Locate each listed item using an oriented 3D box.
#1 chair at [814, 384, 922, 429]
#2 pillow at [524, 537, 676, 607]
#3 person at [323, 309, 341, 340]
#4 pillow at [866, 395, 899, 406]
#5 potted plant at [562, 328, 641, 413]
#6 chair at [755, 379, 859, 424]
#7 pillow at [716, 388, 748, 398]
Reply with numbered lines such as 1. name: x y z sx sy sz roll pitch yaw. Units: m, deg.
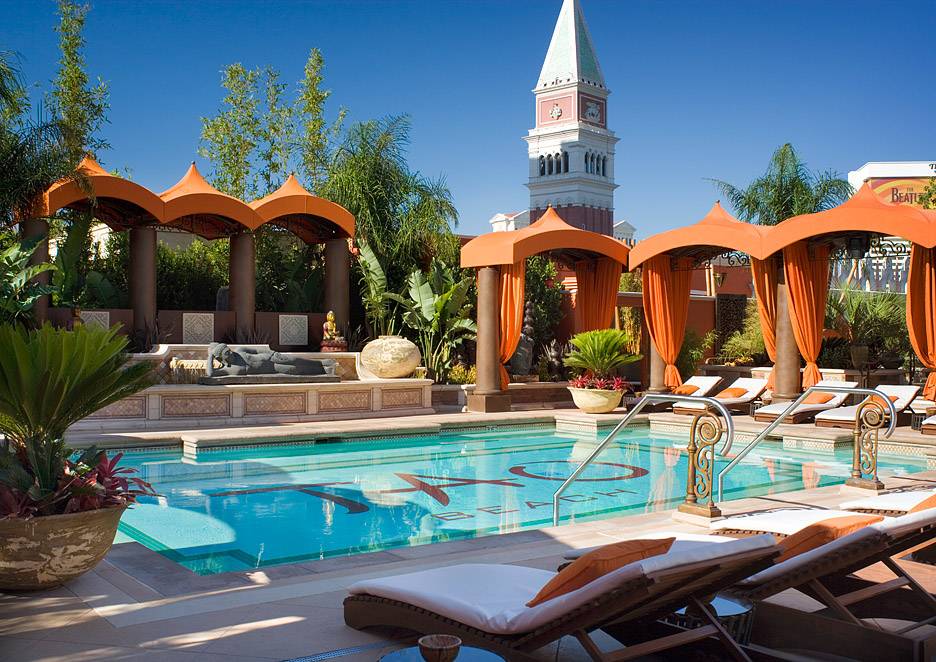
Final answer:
1. chair: 6.928 1.296 11.736 2.177 0.727 1.146 -2 1 -34
2. pillow: 0.650 1.127 3.150 0.715 0.268 0.289 0 -5 -10
3. person: -2.921 -0.117 14.885 0.325 0.674 0.708 0 -5 -10
4. pillow: 6.325 1.055 10.499 0.334 0.182 2.650 -4 -5 32
5. potted plant: 2.716 0.861 14.565 1.755 1.775 1.497 -2 3 -31
6. chair: 6.043 1.302 12.389 1.604 0.543 0.864 -1 -2 -26
7. pillow: 5.190 1.230 13.513 0.525 0.176 0.315 -3 -5 20
